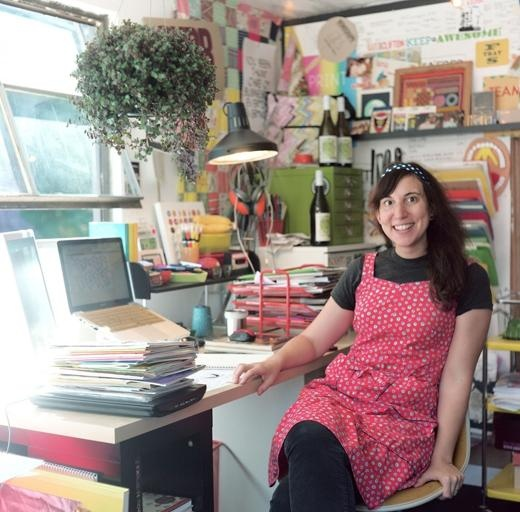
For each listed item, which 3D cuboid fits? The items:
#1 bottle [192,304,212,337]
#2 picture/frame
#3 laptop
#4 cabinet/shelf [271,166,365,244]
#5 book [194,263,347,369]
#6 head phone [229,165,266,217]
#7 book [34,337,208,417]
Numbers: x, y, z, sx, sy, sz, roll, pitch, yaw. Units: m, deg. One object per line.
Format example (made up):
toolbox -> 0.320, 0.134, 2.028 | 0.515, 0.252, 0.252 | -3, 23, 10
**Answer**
bottle -> -0.246, 0.283, 1.957 | 0.120, 0.153, 0.114 | 0, -3, 0
picture/frame -> 1.161, -1.123, 3.094 | 0.503, 0.031, 0.422 | -6, 33, 27
laptop -> -0.489, 0.139, 1.602 | 0.432, 0.313, 0.384 | 23, 12, 23
cabinet/shelf -> 0.485, -0.308, 3.352 | 0.533, 0.695, 0.733 | -2, -1, 25
book -> 0.052, 0.213, 1.825 | 0.399, 0.176, 0.397 | -8, 5, 17
head phone -> -0.067, -0.396, 2.861 | 0.248, 0.332, 0.154 | -2, 2, -1
book -> -0.270, 0.211, 0.980 | 0.239, 0.106, 0.208 | 0, 1, 26
